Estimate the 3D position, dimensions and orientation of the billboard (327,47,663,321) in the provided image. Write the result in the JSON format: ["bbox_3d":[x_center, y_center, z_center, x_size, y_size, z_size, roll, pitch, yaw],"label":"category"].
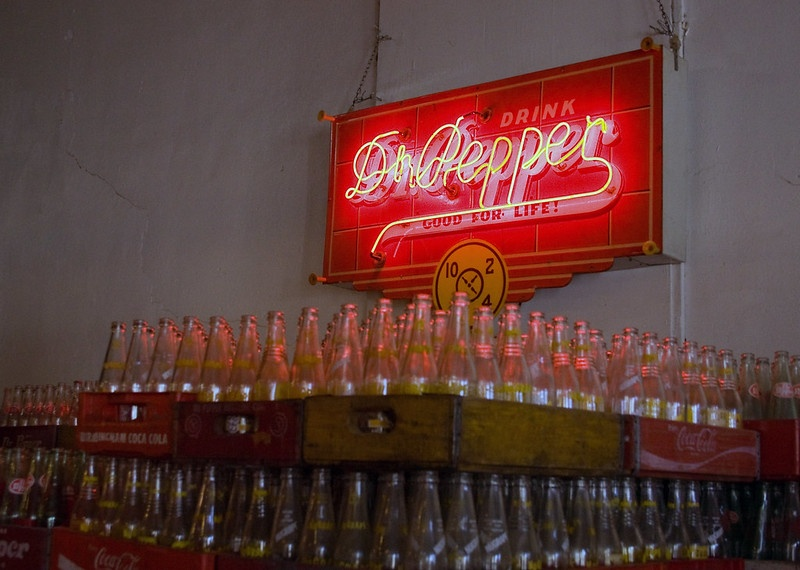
[{"bbox_3d":[0.569,-0.520,5.150,1.404,0.890,0.115,-7,-16,34],"label":"billboard"}]
